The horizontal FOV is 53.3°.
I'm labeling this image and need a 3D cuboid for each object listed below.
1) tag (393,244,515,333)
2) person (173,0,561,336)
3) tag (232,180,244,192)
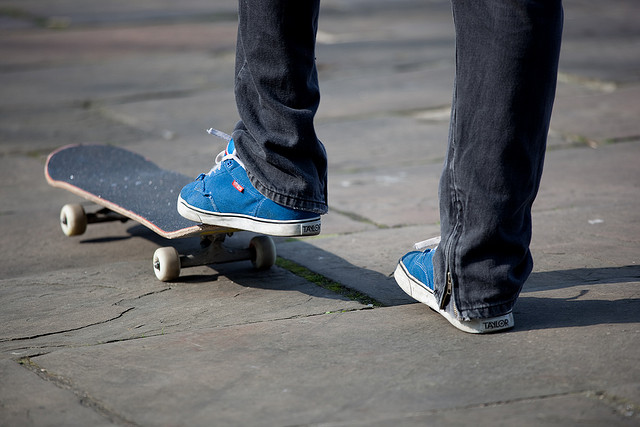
[{"bbox_3d":[0.555,0.302,2.711,0.226,0.289,0.496,-13,18,-30],"label":"tag"},{"bbox_3d":[0.199,-0.237,2.739,1.437,1.361,0.458,5,21,24],"label":"person"},{"bbox_3d":[-0.370,-0.125,2.862,0.074,0.020,0.011,28,10,36],"label":"tag"}]
